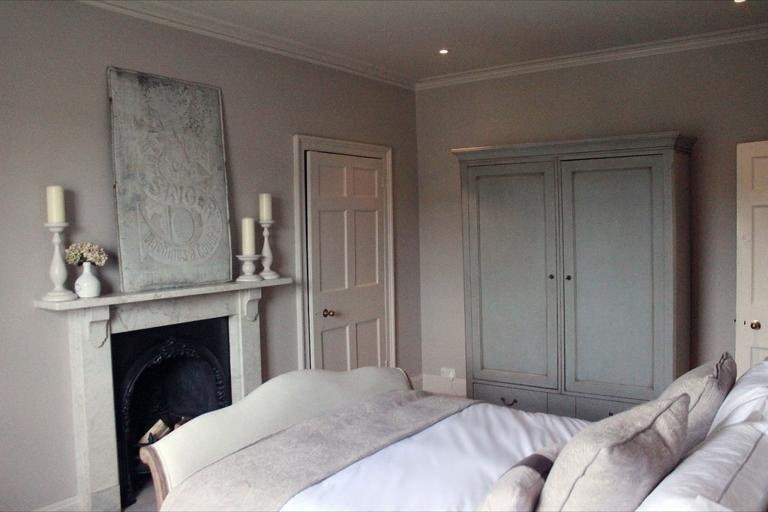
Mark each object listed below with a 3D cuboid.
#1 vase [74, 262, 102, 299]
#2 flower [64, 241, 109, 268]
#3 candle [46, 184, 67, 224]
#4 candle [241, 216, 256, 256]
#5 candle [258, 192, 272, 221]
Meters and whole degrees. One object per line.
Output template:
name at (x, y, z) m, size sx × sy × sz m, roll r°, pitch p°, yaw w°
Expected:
vase at (-1.958, 0.162, 3.699) m, size 0.139 × 0.225 × 0.147 m, roll -3°, pitch 1°, yaw -37°
flower at (-1.974, -0.007, 3.697) m, size 0.197 × 0.124 × 0.191 m, roll 4°, pitch -2°, yaw -1°
candle at (-2.112, -0.320, 3.596) m, size 0.113 × 0.238 × 0.061 m, roll -2°, pitch 1°, yaw -10°
candle at (-1.070, -0.148, 4.423) m, size 0.094 × 0.221 × 0.082 m, roll -2°, pitch 1°, yaw -17°
candle at (-0.978, -0.392, 4.602) m, size 0.116 × 0.167 × 0.201 m, roll -2°, pitch 0°, yaw -12°
